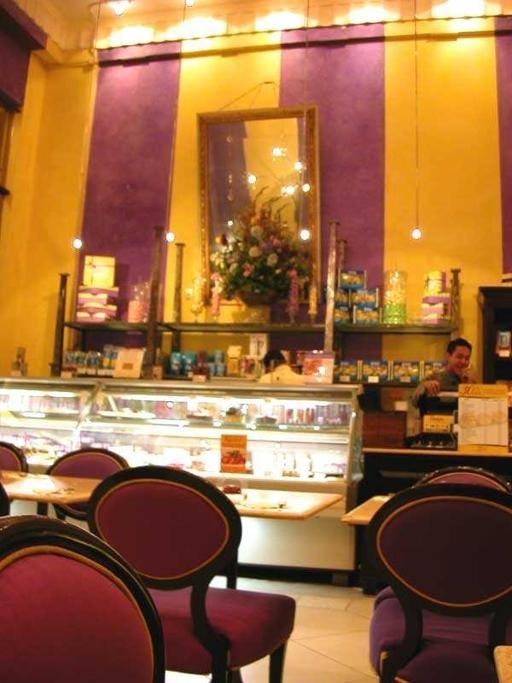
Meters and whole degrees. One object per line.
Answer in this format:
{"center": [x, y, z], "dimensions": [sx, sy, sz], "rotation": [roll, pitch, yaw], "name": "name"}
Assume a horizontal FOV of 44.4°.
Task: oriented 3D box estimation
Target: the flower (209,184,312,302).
{"center": [0.044, -0.820, 5.332], "dimensions": [0.843, 1.033, 0.479], "rotation": [2, -4, 3], "name": "flower"}

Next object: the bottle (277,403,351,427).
{"center": [0.340, 0.439, 3.746], "dimensions": [0.419, 0.144, 0.051], "rotation": [1, -4, 17], "name": "bottle"}
